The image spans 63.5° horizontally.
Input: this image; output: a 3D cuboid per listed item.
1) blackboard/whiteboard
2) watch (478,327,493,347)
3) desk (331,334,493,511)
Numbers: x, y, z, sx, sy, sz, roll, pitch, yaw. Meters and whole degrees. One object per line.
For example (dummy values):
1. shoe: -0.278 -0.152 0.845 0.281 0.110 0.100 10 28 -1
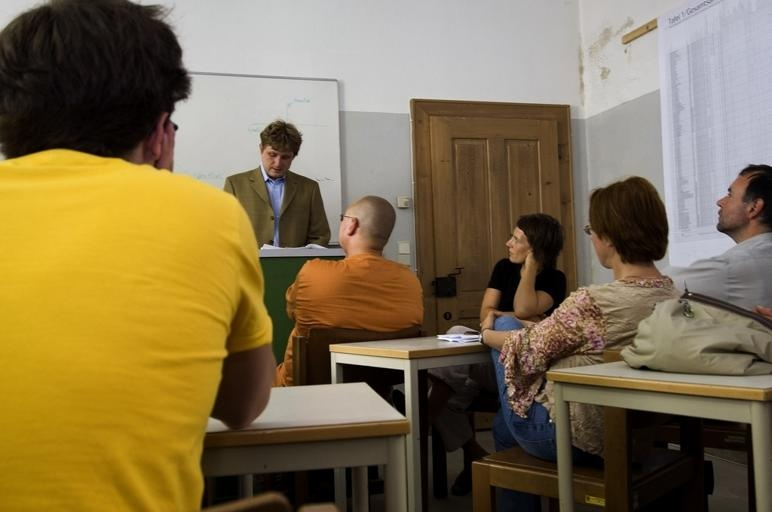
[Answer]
1. blackboard/whiteboard: -0.757 -0.610 3.672 1.219 1.242 0.053 2 -4 -14
2. watch: 0.391 0.323 2.465 0.049 0.068 0.038 5 5 -16
3. desk: 0.102 0.666 2.641 0.835 0.826 0.634 -1 2 -5
